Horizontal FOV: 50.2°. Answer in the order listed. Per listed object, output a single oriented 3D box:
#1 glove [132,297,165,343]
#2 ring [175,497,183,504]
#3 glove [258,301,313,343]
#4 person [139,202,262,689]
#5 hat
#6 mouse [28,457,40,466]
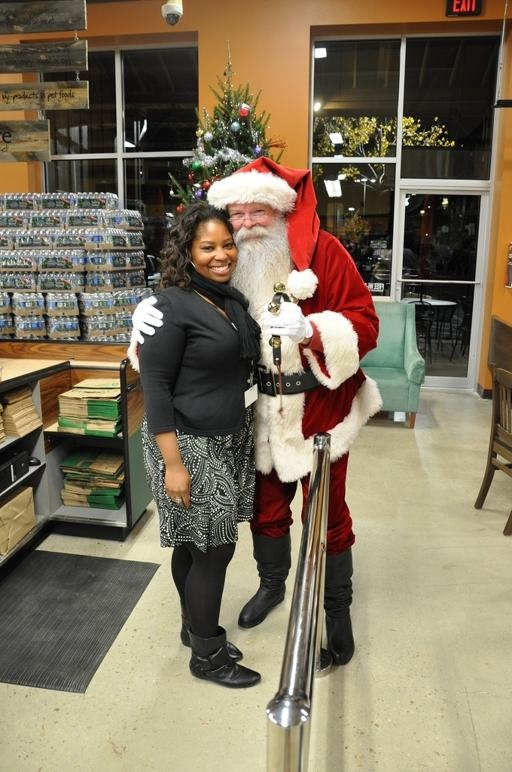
[{"bbox_3d":[-0.269,-0.178,1.448,0.036,0.121,0.093,20,-22,-32],"label":"glove"},{"bbox_3d":[-0.213,0.313,1.499,0.016,0.021,0.012,9,28,25],"label":"ring"},{"bbox_3d":[0.084,-0.170,1.466,0.134,0.109,0.100,1,7,6],"label":"glove"},{"bbox_3d":[-0.162,0.220,1.602,0.364,1.466,0.264,-1,7,-10],"label":"person"},{"bbox_3d":[0.055,-0.474,1.612,0.345,0.361,0.177,5,10,17],"label":"hat"},{"bbox_3d":[-1.079,0.370,2.651,0.051,0.035,0.032,-3,8,-22],"label":"mouse"}]
